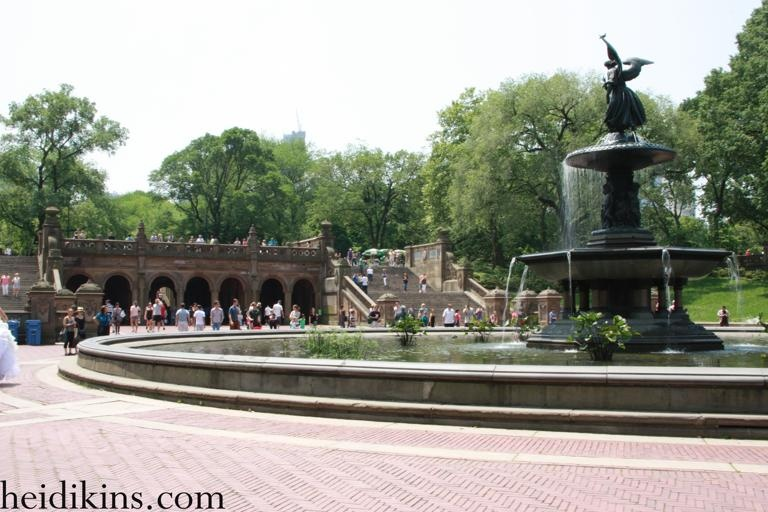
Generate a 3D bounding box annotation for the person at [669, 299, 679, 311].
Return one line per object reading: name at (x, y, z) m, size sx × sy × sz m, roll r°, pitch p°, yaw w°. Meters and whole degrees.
person at (9.418, 1.592, 32.981) m, size 0.278 × 0.395 × 0.859 m, roll -2°, pitch -4°, yaw 16°

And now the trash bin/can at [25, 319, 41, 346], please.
trash bin/can at (-15.214, 3.245, 43.808) m, size 0.656 × 1.095 × 0.670 m, roll 1°, pitch -4°, yaw -19°

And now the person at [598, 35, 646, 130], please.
person at (8.025, -5.806, 34.118) m, size 1.361 × 3.229 × 0.810 m, roll -2°, pitch -4°, yaw 12°
